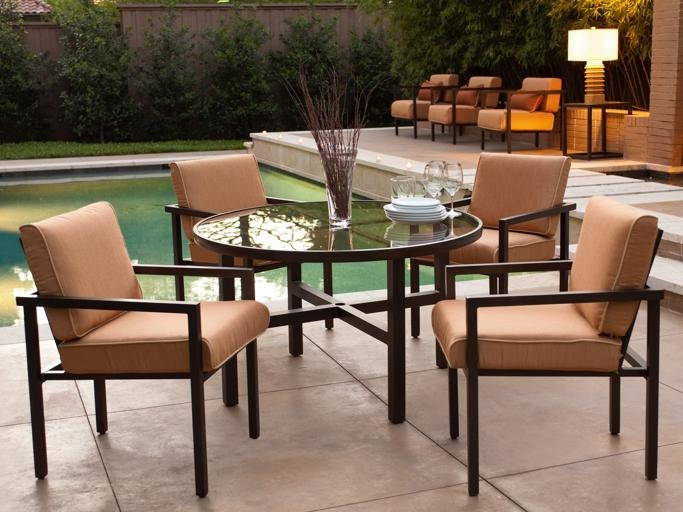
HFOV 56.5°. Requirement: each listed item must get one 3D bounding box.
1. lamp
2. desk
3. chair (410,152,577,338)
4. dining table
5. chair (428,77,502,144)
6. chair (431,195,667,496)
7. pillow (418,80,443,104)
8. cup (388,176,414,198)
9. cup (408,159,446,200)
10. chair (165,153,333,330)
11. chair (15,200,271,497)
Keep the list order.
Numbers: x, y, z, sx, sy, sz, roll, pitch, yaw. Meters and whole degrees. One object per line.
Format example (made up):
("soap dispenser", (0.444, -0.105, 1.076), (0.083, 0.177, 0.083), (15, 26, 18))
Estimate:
("lamp", (2.970, -2.225, 7.498), (0.610, 0.761, 0.567), (-1, 13, 13))
("desk", (3.257, -1.566, 8.014), (0.926, 0.716, 0.685), (7, 14, 18))
("chair", (0.824, -0.051, 3.588), (0.945, 0.974, 0.880), (-4, 14, -8))
("dining table", (0.059, 0.167, 2.886), (1.176, 0.653, 1.109), (-8, 16, -28))
("chair", (2.145, -2.189, 9.728), (1.288, 1.195, 1.051), (-4, 11, -17))
("chair", (0.748, 0.269, 2.430), (0.776, 0.824, 0.611), (-4, 12, 6))
("pillow", (1.406, -2.729, 10.558), (0.493, 0.452, 0.150), (20, 12, 42))
("cup", (0.282, -0.323, 3.018), (0.118, 0.095, 0.088), (1, 10, 18))
("cup", (0.424, -0.355, 3.017), (0.142, 0.182, 0.167), (4, 18, 18))
("chair", (-0.478, -0.089, 3.753), (0.920, 0.861, 0.845), (11, 20, 22))
("chair", (-0.736, 0.308, 2.460), (0.835, 0.804, 0.714), (7, 10, 15))
